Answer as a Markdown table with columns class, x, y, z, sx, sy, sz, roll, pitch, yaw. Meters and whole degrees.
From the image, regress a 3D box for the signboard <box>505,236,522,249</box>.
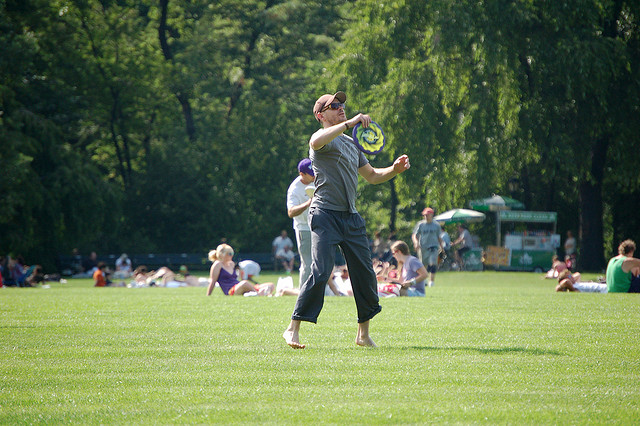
| class | x | y | z | sx | sy | sz | roll | pitch | yaw |
| --- | --- | --- | --- | --- | --- | --- | --- | --- | --- |
| signboard | 10.257 | 1.493 | 72.775 | 1.047 | 0.762 | 0.566 | 1 | -6 | 4 |

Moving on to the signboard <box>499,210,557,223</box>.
| class | x | y | z | sx | sy | sz | roll | pitch | yaw |
| --- | --- | --- | --- | --- | --- | --- | --- | --- | --- |
| signboard | 10.957 | 0.099 | 72.713 | 2.912 | 0.622 | 1.558 | 0 | -5 | 6 |

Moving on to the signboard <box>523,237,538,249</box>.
| class | x | y | z | sx | sy | sz | roll | pitch | yaw |
| --- | --- | --- | --- | --- | --- | --- | --- | --- | --- |
| signboard | 11.124 | 1.563 | 72.611 | 1.009 | 0.736 | 0.557 | 1 | -8 | 0 |

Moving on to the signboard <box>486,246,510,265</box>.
| class | x | y | z | sx | sy | sz | roll | pitch | yaw |
| --- | --- | --- | --- | --- | --- | --- | --- | --- | --- |
| signboard | 9.506 | 2.232 | 73.324 | 0.358 | 0.967 | 1.619 | 4 | -6 | -33 |

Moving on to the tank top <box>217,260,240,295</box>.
| class | x | y | z | sx | sy | sz | roll | pitch | yaw |
| --- | --- | --- | --- | --- | --- | --- | --- | --- | --- |
| tank top | -3.806 | 2.641 | 56.359 | 0.834 | 1.353 | 0.460 | 2 | -5 | -12 |
